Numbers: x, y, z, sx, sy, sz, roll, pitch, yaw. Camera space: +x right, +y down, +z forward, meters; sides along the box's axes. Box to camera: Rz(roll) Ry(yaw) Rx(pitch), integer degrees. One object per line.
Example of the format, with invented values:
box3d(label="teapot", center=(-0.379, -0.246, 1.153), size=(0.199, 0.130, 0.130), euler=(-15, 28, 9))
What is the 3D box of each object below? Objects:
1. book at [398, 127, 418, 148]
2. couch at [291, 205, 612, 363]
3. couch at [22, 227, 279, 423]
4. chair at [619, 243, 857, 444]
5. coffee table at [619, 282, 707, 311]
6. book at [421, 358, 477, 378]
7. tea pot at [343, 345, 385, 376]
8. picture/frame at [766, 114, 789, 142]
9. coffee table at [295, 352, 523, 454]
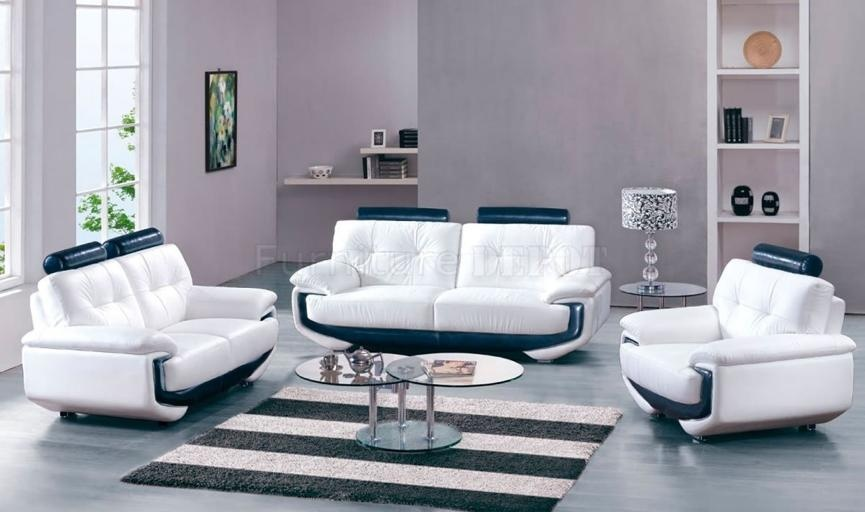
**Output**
box3d(label="book", center=(-0.320, -1.672, 9.952), size=(0.394, 0.346, 0.284), euler=(0, 6, 0))
box3d(label="couch", center=(0.170, 0.328, 6.872), size=(2.975, 1.178, 1.128), euler=(1, 12, 15))
box3d(label="couch", center=(-2.280, 0.558, 5.818), size=(1.299, 1.107, 1.807), euler=(8, 11, 12))
box3d(label="chair", center=(2.305, 0.530, 5.492), size=(1.577, 1.389, 1.712), euler=(-1, 3, -19))
box3d(label="coffee table", center=(2.210, 0.338, 6.614), size=(0.623, 0.182, 0.586), euler=(-3, 8, -7))
box3d(label="book", center=(0.114, 0.791, 4.827), size=(0.376, 0.030, 0.281), euler=(0, 13, 3))
box3d(label="tea pot", center=(-0.500, 0.747, 4.953), size=(0.270, 0.162, 0.171), euler=(6, 4, 19))
box3d(label="picture/frame", center=(3.811, -1.396, 7.591), size=(0.207, 0.284, 0.199), euler=(-10, 17, -34))
box3d(label="coffee table", center=(0.014, 1.079, 5.120), size=(1.236, 0.573, 1.837), euler=(7, -4, 30))
